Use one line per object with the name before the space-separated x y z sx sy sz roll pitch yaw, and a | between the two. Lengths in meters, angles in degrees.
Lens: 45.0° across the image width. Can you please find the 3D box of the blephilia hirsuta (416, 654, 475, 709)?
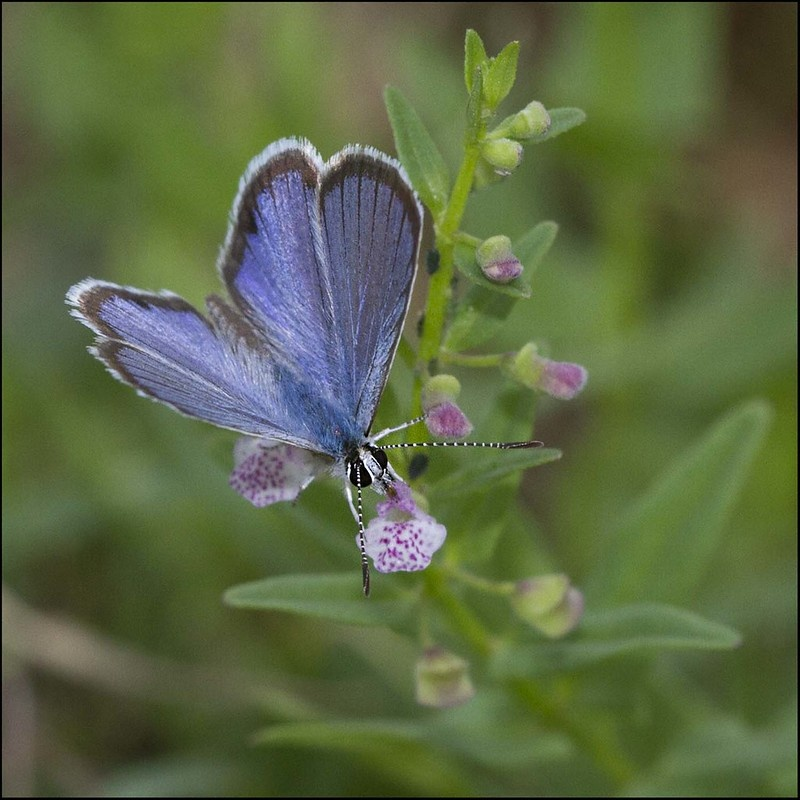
blephilia hirsuta | 0.120 0.798 2.707 0.153 0.197 0.092 -5 23 1

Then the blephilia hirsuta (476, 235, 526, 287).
blephilia hirsuta | 0.245 -0.356 2.528 0.094 0.136 0.057 -8 -17 -9

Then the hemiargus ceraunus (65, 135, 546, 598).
hemiargus ceraunus | -0.358 -0.201 3.114 1.130 1.431 0.639 -2 25 -1

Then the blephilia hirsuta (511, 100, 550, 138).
blephilia hirsuta | 0.351 -0.729 2.518 0.077 0.087 0.133 12 30 34

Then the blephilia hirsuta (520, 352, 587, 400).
blephilia hirsuta | 0.416 -0.075 2.759 0.124 0.153 0.204 2 21 -1

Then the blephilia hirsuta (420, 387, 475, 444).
blephilia hirsuta | 0.127 0.052 2.780 0.127 0.228 0.166 -6 23 -2

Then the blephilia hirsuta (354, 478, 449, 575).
blephilia hirsuta | 0.013 0.357 2.656 0.174 0.292 0.203 -5 21 -13

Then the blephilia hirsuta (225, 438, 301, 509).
blephilia hirsuta | -0.401 0.212 2.822 0.186 0.209 0.047 -36 0 -13

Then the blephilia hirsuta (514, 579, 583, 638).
blephilia hirsuta | 0.421 0.579 2.812 0.188 0.166 0.124 9 27 29
